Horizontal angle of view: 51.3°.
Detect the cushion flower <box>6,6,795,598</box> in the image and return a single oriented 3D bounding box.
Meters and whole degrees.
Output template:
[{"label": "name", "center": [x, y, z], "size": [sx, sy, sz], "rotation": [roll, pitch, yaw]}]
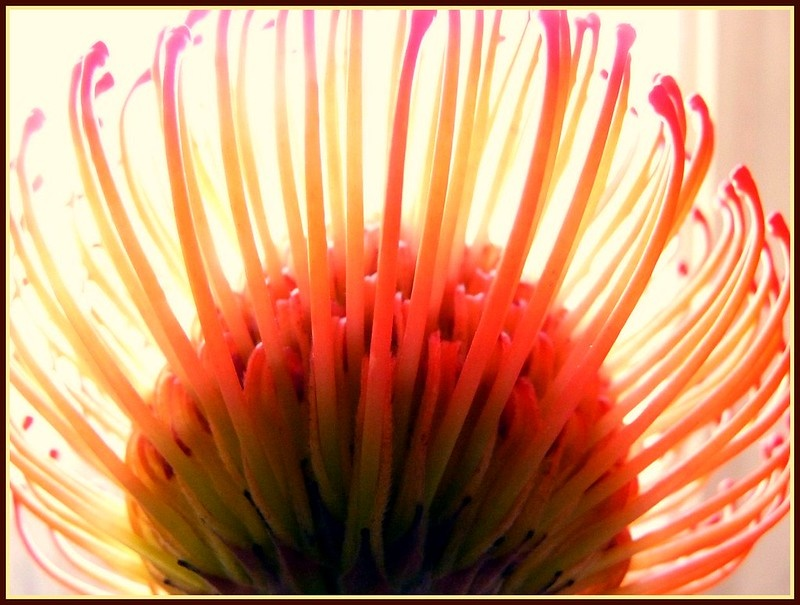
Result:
[{"label": "cushion flower", "center": [0.022, 0.035, 1.038], "size": [0.659, 0.713, 0.687], "rotation": [6, 1, 2]}]
